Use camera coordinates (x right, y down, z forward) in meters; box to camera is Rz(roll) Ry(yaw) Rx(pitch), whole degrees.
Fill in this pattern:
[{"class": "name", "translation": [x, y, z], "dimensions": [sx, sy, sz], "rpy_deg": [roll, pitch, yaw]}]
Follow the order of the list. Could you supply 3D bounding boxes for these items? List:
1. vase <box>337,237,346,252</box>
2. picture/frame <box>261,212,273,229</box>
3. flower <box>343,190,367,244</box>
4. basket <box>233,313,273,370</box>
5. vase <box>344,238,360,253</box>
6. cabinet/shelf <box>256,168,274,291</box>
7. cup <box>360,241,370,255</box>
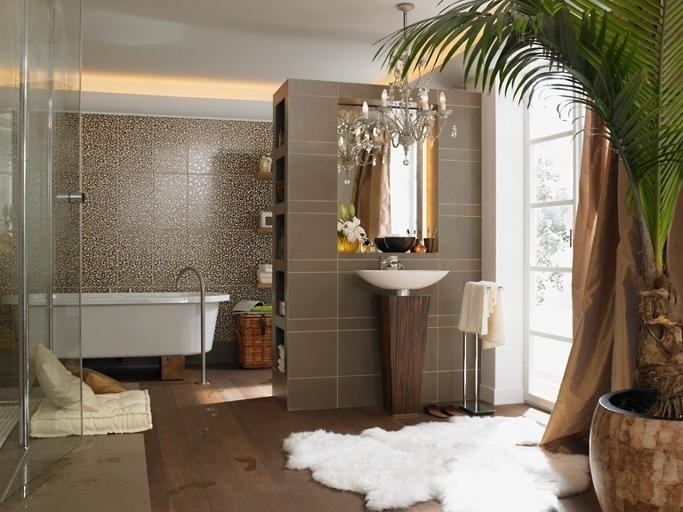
[{"class": "vase", "translation": [-0.004, -0.093, 4.799], "dimensions": [0.082, 0.100, 0.100], "rpy_deg": [-1, 6, 4]}, {"class": "picture/frame", "translation": [-0.909, -0.429, 6.636], "dimensions": [0.129, 0.214, 0.184], "rpy_deg": [-1, 2, -13]}, {"class": "flower", "translation": [0.089, -0.315, 4.857], "dimensions": [0.204, 0.342, 0.101], "rpy_deg": [-11, -19, -9]}, {"class": "basket", "translation": [-1.025, 0.978, 6.558], "dimensions": [0.576, 0.743, 0.570], "rpy_deg": [0, -3, -13]}, {"class": "vase", "translation": [0.094, -0.090, 4.845], "dimensions": [0.109, 0.100, 0.115], "rpy_deg": [-1, 1, -8]}, {"class": "cabinet/shelf", "translation": [-0.931, -0.328, 6.684], "dimensions": [0.180, 1.421, 0.330], "rpy_deg": [-1, 3, -8]}, {"class": "cup", "translation": [0.218, -0.082, 4.985], "dimensions": [0.093, 0.114, 0.094], "rpy_deg": [1, 5, 0]}]
